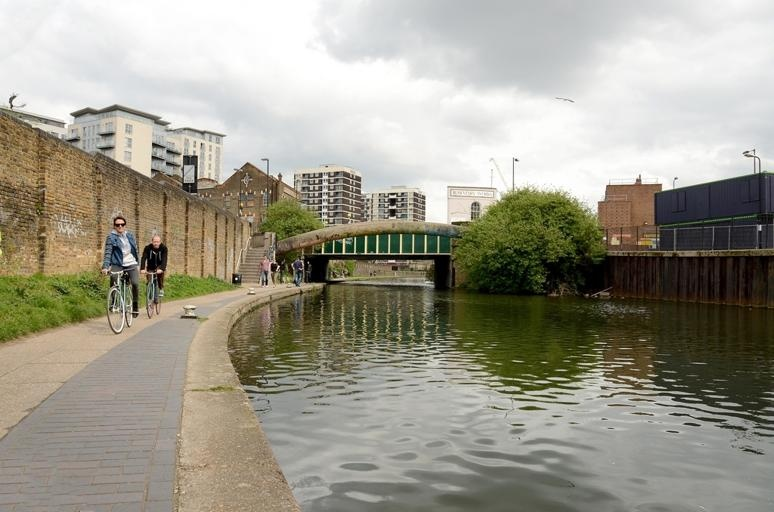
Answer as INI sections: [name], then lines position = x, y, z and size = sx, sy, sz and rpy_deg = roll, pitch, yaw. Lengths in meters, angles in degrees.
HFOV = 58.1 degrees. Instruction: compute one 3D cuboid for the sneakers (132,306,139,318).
[sneakers]
position = -6.207, 1.390, 17.138
size = 0.189, 0.235, 0.181
rpy_deg = 10, 3, 32
